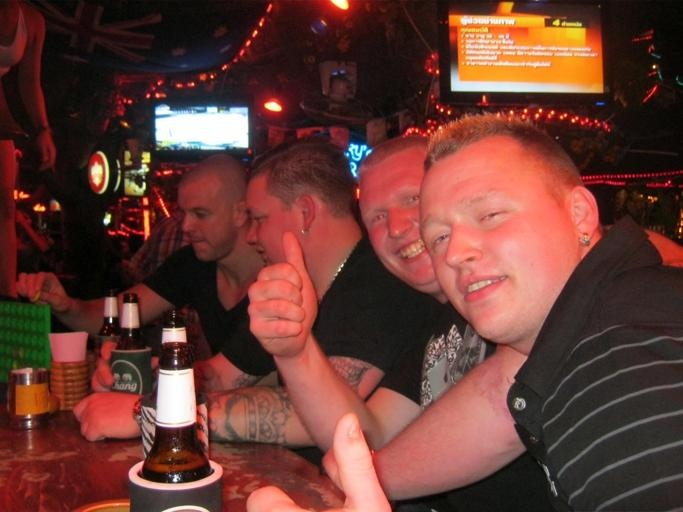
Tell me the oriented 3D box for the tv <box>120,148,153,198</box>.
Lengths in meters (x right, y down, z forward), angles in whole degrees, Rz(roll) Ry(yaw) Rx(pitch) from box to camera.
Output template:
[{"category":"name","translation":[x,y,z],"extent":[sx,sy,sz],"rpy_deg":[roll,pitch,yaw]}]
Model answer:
[{"category":"tv","translation":[-2.585,-1.019,7.811],"extent":[0.459,0.629,0.434],"rpy_deg":[-3,13,-38]}]

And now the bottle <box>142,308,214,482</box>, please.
[{"category":"bottle","translation":[-0.479,0.415,1.735],"extent":[0.181,0.418,0.336],"rpy_deg":[-4,10,-16]}]

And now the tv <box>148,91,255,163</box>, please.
[{"category":"tv","translation":[-1.671,-1.508,7.332],"extent":[1.202,0.695,0.148],"rpy_deg":[0,3,-1]}]

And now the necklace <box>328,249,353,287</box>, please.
[{"category":"necklace","translation":[-0.003,0.062,3.100],"extent":[0.030,0.128,0.123],"rpy_deg":[32,3,3]}]
